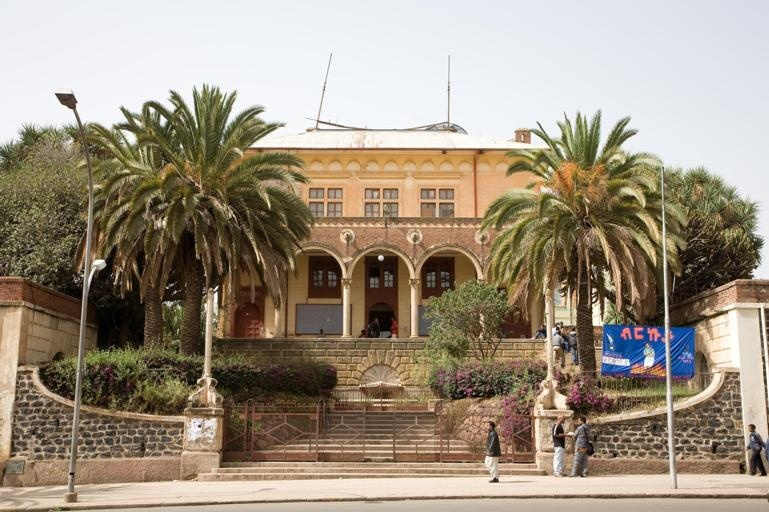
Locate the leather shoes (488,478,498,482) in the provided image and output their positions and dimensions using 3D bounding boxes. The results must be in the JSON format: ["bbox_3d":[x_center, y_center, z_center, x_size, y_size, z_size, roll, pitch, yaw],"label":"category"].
[{"bbox_3d":[3.639,7.477,25.517,0.347,0.165,0.124,1,-8,17],"label":"leather shoes"}]

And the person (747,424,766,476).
[{"bbox_3d":[13.820,7.190,28.502,0.599,1.857,1.113,-5,-13,25],"label":"person"}]
